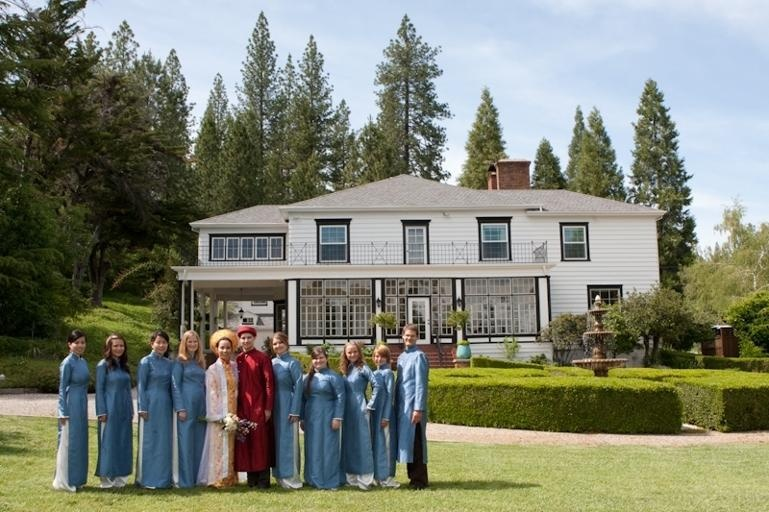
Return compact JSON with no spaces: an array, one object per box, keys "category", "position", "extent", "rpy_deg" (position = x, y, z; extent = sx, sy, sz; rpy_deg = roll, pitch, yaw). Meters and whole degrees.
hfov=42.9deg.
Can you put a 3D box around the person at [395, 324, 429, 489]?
[{"category":"person","position":[0.759,3.949,25.999],"extent":[0.898,4.284,0.375],"rpy_deg":[1,-7,2]}]

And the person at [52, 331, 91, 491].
[{"category":"person","position":[-8.129,4.012,25.608],"extent":[0.840,4.136,0.342],"rpy_deg":[4,-7,-21]}]

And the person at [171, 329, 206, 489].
[{"category":"person","position":[-5.137,4.002,25.696],"extent":[0.928,4.052,0.351],"rpy_deg":[3,-7,-14]}]

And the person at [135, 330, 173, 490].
[{"category":"person","position":[-5.989,4.022,25.685],"extent":[0.976,4.024,0.359],"rpy_deg":[0,-7,10]}]

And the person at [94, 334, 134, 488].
[{"category":"person","position":[-7.095,4.056,25.752],"extent":[1.038,3.988,0.345],"rpy_deg":[4,-7,-21]}]

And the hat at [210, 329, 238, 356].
[{"category":"hat","position":[-4.211,2.257,26.061],"extent":[0.578,0.521,0.675],"rpy_deg":[0,8,5]}]

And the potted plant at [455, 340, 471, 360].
[{"category":"potted plant","position":[3.346,3.960,41.227],"extent":[0.577,0.777,0.912],"rpy_deg":[1,-8,4]}]
